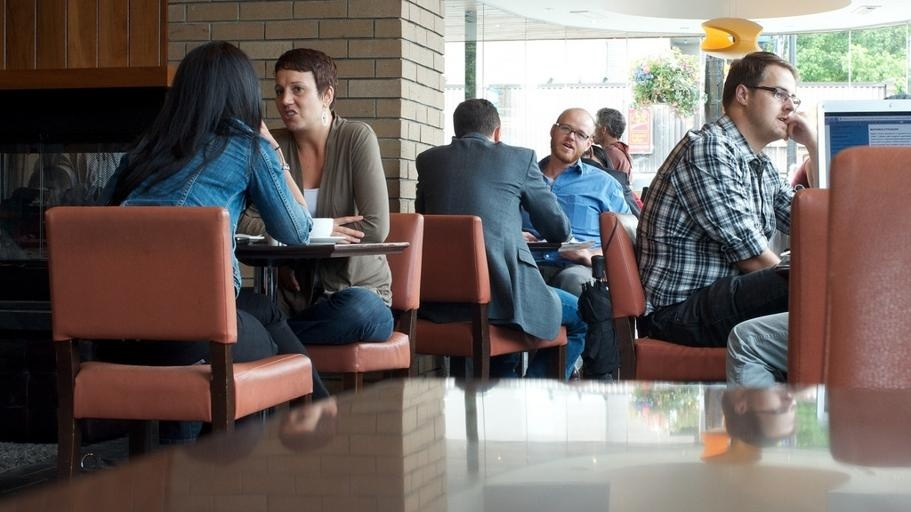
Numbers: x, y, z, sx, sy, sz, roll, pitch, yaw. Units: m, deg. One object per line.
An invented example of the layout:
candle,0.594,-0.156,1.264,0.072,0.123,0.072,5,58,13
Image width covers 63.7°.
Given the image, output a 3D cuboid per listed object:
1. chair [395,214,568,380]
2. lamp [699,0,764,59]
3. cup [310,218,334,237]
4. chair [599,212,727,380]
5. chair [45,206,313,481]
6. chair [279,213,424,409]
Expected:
chair,0.089,0.304,3.474,0.687,0.878,0.557,11,-10,-43
lamp,2.585,-2.091,6.989,0.483,0.390,0.561,3,13,4
cup,-0.454,-0.098,2.528,0.061,0.048,0.063,-2,-5,0
chair,0.853,0.271,2.827,0.540,0.751,0.508,-2,-4,5
chair,-0.754,0.317,2.217,0.616,0.841,0.654,-2,-7,19
chair,-0.474,0.259,2.991,0.574,0.909,0.573,6,4,12
